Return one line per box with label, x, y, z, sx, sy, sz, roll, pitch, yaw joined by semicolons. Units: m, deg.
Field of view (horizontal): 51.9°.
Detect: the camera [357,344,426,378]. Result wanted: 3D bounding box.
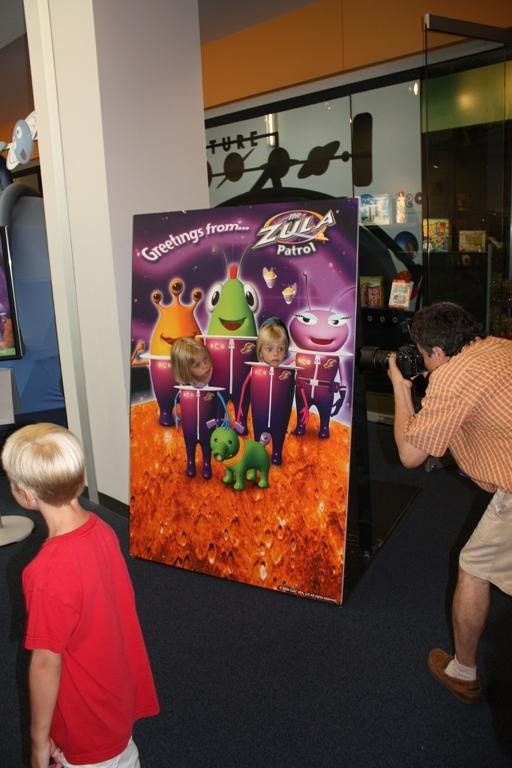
camera;0.527;-0.094;2.037;0.155;0.082;0.164;9;24;32
